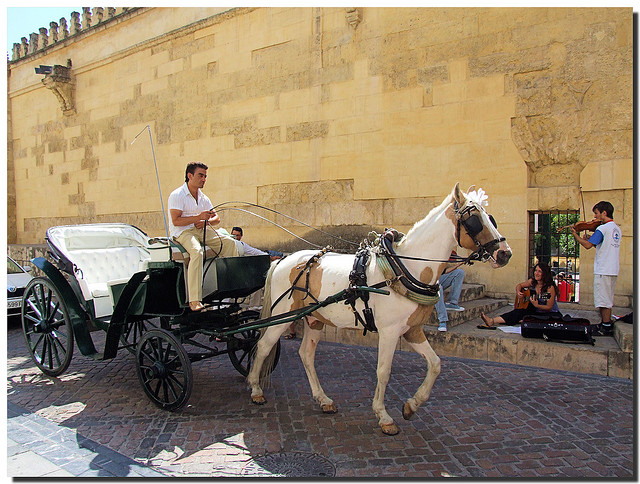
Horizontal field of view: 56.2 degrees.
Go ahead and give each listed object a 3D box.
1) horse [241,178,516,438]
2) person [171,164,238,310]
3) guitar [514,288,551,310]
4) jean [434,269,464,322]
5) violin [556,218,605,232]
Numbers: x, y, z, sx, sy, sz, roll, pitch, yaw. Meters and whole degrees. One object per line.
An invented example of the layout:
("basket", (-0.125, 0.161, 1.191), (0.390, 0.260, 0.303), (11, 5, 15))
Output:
("horse", (1.062, 1.071, 9.109), (3.579, 3.220, 1.314), (1, -7, 27))
("person", (-1.740, -0.162, 8.564), (1.017, 1.932, 1.090), (9, 9, 19))
("guitar", (3.580, 0.971, 10.140), (0.169, 0.338, 0.652), (-5, 3, -41))
("jean", (2.235, 0.839, 10.275), (0.495, 1.098, 0.588), (6, 11, 16))
("violin", (4.490, -0.268, 10.099), (0.544, 0.232, 0.091), (-6, 34, 22))
